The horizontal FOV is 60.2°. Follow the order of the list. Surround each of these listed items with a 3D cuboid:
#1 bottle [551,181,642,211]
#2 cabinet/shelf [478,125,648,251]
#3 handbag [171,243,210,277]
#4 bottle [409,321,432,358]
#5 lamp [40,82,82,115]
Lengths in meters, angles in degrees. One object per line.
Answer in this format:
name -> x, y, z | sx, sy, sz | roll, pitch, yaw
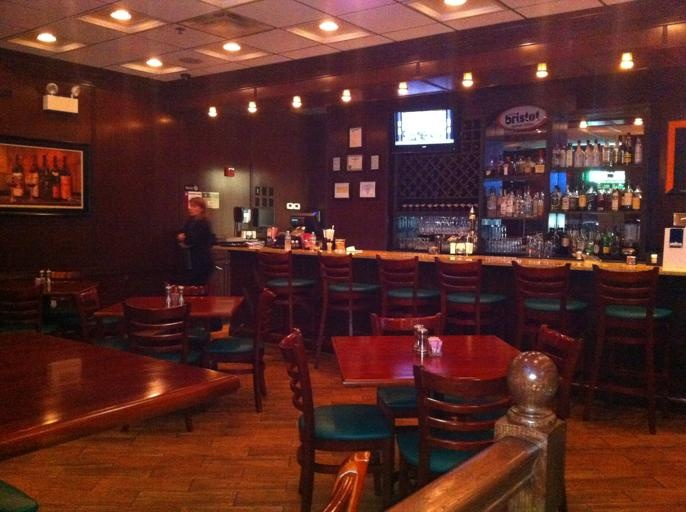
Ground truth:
bottle -> 3.015, -0.675, 7.090 | 1.007, 0.313, 0.348 | 5, 12, 25
cabinet/shelf -> 2.732, -0.802, 7.334 | 1.674, 1.470, 0.499 | 3, 6, 21
handbag -> -2.047, 0.044, 7.991 | 0.335, 0.551, 0.405 | -12, 15, -35
bottle -> 0.492, 0.541, 3.959 | 0.190, 0.305, 0.126 | -2, 6, 4
lamp -> -3.615, -2.013, 7.563 | 0.180, 0.366, 0.485 | 5, 8, 29
